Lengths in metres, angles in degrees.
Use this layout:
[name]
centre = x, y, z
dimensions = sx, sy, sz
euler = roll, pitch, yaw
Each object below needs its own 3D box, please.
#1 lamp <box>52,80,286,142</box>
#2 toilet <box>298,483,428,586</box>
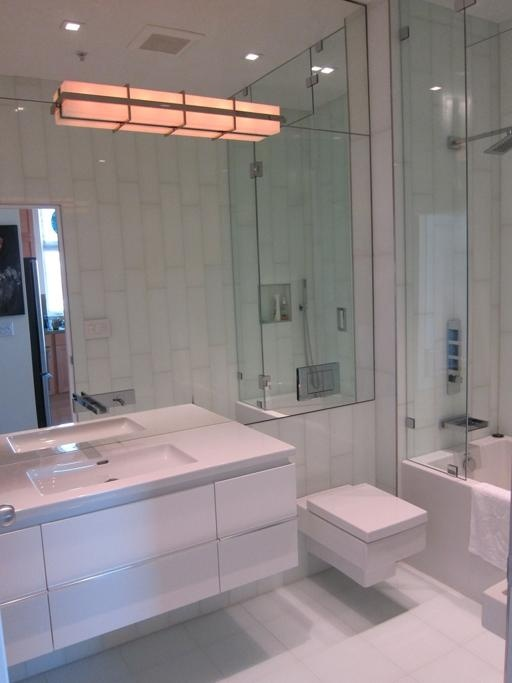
[lamp]
centre = -0.285, -0.856, 2.120
dimensions = 0.923, 0.175, 0.087
euler = -6, 6, -30
[toilet]
centre = 0.443, 0.820, 2.469
dimensions = 0.365, 0.262, 0.503
euler = -6, 6, -30
